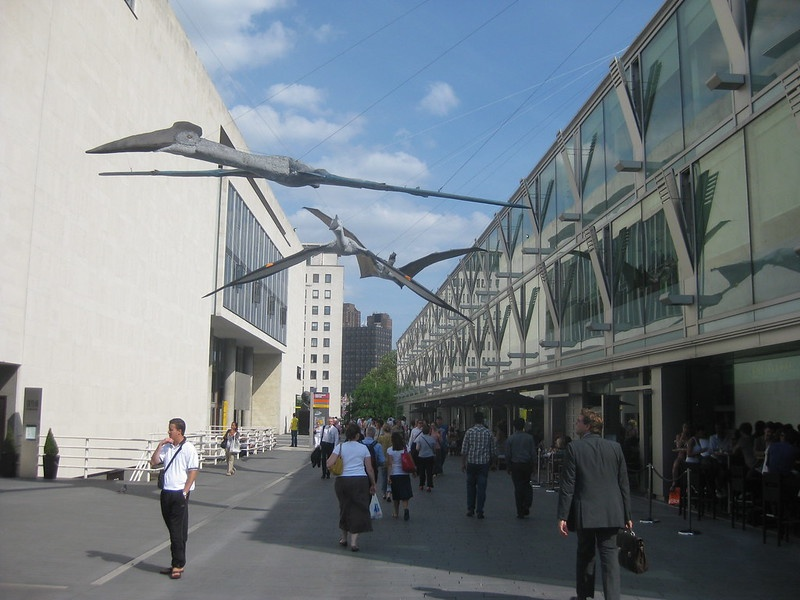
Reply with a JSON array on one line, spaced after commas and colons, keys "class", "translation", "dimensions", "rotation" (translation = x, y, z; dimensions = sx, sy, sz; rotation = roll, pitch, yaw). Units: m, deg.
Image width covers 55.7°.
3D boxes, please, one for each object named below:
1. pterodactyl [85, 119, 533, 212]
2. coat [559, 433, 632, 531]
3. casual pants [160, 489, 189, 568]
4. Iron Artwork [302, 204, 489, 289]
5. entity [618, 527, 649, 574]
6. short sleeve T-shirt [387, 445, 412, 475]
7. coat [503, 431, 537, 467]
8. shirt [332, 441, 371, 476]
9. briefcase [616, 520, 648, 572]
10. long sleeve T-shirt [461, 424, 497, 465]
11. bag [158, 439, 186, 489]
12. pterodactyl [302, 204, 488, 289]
[{"class": "pterodactyl", "translation": [-2.776, -2.887, 18.121], "dimensions": [6.055, 1.082, 6.609], "rotation": [6, -2, 28]}, {"class": "coat", "translation": [2.611, 2.435, 10.198], "dimensions": [0.949, 1.258, 0.251], "rotation": [3, -14, -8]}, {"class": "casual pants", "translation": [-3.490, 3.526, 11.640], "dimensions": [0.442, 1.142, 0.479], "rotation": [6, -15, -17]}, {"class": "Iron Artwork", "translation": [0.182, -1.454, 29.671], "dimensions": [5.424, 1.970, 4.130], "rotation": [20, 3, 21]}, {"class": "entity", "translation": [3.057, 3.288, 10.023], "dimensions": [0.172, 0.569, 0.584], "rotation": [0, -9, -12]}, {"class": "short sleeve T-shirt", "translation": [-0.050, 3.694, 17.151], "dimensions": [0.663, 0.807, 0.486], "rotation": [3, -34, -10]}, {"class": "coat", "translation": [2.716, 3.344, 17.156], "dimensions": [0.854, 1.057, 0.570], "rotation": [-1, -10, 9]}, {"class": "shirt", "translation": [-0.840, 2.697, 13.678], "dimensions": [0.781, 0.850, 0.466], "rotation": [0, -5, -2]}, {"class": "briefcase", "translation": [3.066, 3.294, 10.022], "dimensions": [0.171, 0.543, 0.585], "rotation": [-2, -8, -9]}, {"class": "long sleeve T-shirt", "translation": [1.797, 3.227, 17.104], "dimensions": [0.824, 0.936, 0.468], "rotation": [-1, 8, -5]}, {"class": "bag", "translation": [-3.642, 2.579, 11.882], "dimensions": [0.148, 0.666, 0.482], "rotation": [14, -4, -8]}, {"class": "pterodactyl", "translation": [0.153, -1.491, 29.742], "dimensions": [5.312, 1.799, 4.183], "rotation": [17, -1, 24]}]
